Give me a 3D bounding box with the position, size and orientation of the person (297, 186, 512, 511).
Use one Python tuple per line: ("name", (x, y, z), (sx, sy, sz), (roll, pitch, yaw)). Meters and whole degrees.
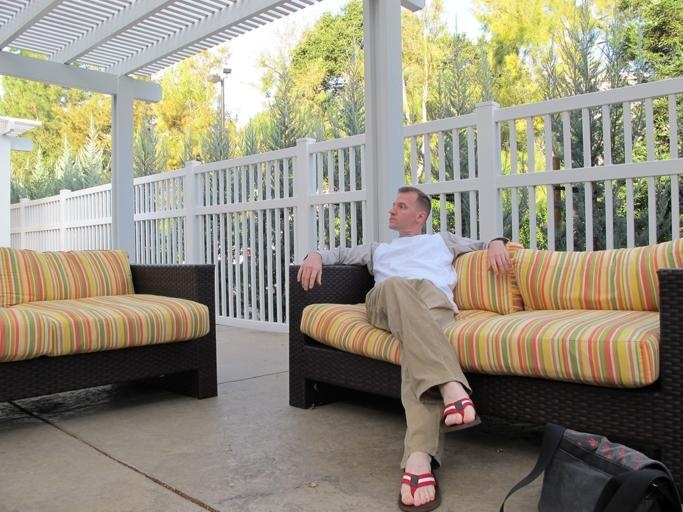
("person", (0.434, 0.335, 2.904), (0.968, 0.650, 1.543), (-3, 22, 1))
